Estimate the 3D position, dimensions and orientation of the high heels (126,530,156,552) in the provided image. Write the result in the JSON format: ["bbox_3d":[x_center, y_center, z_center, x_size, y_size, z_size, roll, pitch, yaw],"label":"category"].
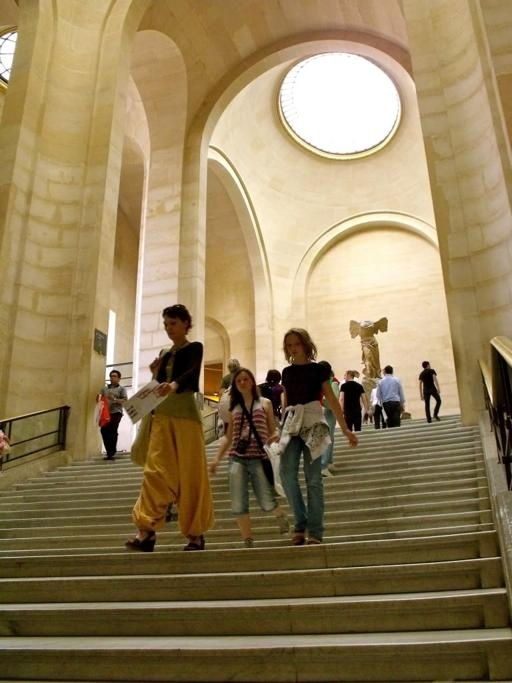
[{"bbox_3d":[-0.683,1.174,2.868,0.156,0.119,0.172,-1,-9,-8],"label":"high heels"}]

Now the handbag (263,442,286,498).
[{"bbox_3d":[0.130,0.857,3.287,0.111,0.303,0.302,-1,-1,-2],"label":"handbag"}]

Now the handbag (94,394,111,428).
[{"bbox_3d":[-2.268,1.007,7.156,0.145,0.397,0.306,7,-54,-24],"label":"handbag"}]

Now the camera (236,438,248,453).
[{"bbox_3d":[-0.100,0.704,3.301,0.058,0.074,0.022,10,-7,20],"label":"camera"}]
